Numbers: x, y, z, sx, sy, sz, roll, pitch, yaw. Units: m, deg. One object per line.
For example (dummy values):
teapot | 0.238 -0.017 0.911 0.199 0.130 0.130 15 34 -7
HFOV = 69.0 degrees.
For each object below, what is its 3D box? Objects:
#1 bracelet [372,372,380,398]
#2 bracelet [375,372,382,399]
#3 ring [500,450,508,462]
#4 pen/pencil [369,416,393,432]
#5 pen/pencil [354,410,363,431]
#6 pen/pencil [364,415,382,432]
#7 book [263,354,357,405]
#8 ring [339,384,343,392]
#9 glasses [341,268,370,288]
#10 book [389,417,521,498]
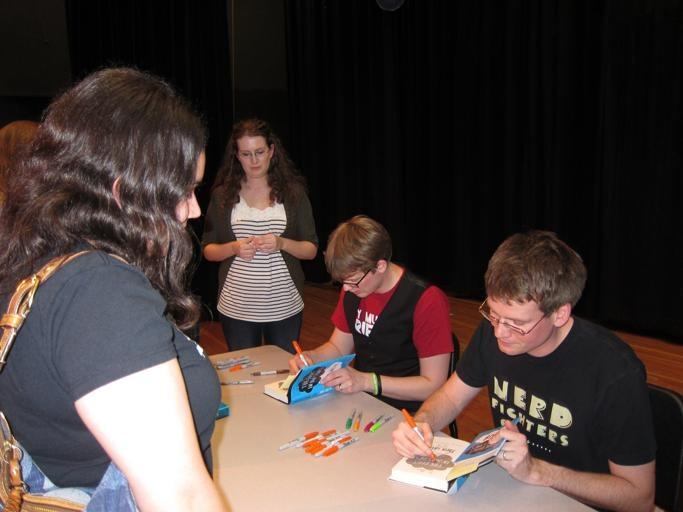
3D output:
bracelet | 0.133 0.488 1.882 0.021 0.063 0.050 1 -2 5
bracelet | 0.148 0.511 1.910 0.023 0.072 0.049 1 -1 8
ring | 0.430 0.529 1.313 0.020 0.020 0.005 50 25 16
pen/pencil | 0.131 0.552 1.632 0.027 0.016 0.121 4 12 33
pen/pencil | 0.054 0.552 1.641 0.011 0.009 0.067 7 21 11
pen/pencil | 0.102 0.544 1.632 0.019 0.013 0.090 -1 13 30
book | -0.134 0.446 1.814 0.204 0.139 0.211 13 18 41
ring | -0.002 0.491 1.840 0.009 0.023 0.025 -10 22 -41
glasses | 0.067 0.095 2.008 0.079 0.022 0.076 -46 16 -22
book | 0.303 0.565 1.388 0.182 0.079 0.200 -8 7 32
